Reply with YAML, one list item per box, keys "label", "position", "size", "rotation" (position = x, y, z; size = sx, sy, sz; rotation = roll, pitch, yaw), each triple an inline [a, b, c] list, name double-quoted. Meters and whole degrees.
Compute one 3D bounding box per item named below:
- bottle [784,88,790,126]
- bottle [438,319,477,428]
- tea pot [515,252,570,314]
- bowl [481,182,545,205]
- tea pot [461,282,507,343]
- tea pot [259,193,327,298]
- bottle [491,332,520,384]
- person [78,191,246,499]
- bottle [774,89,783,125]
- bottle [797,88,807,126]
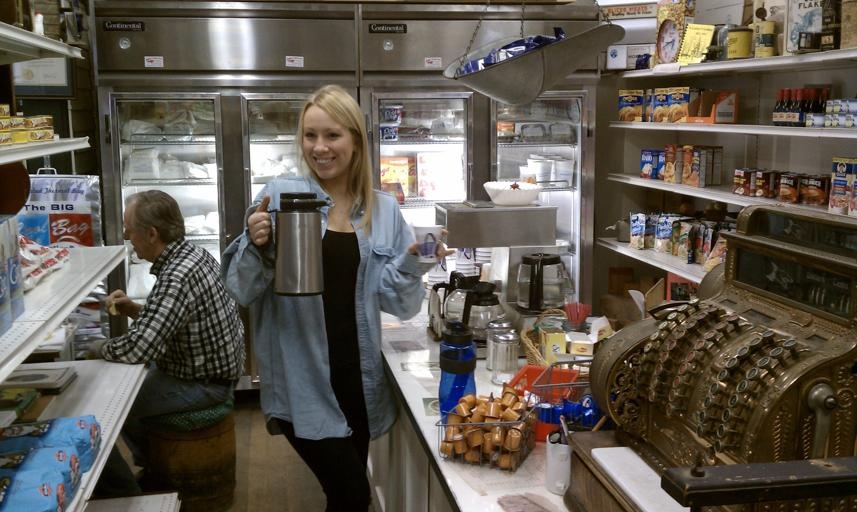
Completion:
- label: "bottle"
  position: [2.201, -0.909, 3.496]
  size: [0.037, 0.200, 0.109]
  rotation: [3, 10, 28]
- label: "bottle"
  position: [0.115, 0.467, 2.282]
  size: [0.144, 0.330, 0.142]
  rotation: [-1, 9, 0]
- label: "tea pot"
  position: [0.569, 0.136, 2.896]
  size: [0.251, 0.261, 0.324]
  rotation: [2, 11, 18]
- label: "bowl"
  position: [0.402, -0.298, 2.773]
  size: [0.242, 0.109, 0.172]
  rotation: [-1, 9, 5]
- label: "tea pot"
  position: [0.245, 0.272, 2.791]
  size: [0.255, 0.236, 0.160]
  rotation: [-4, 9, -34]
- label: "tea pot"
  position: [-0.529, -0.047, 2.332]
  size: [0.210, 0.409, 0.106]
  rotation: [-3, 9, -9]
- label: "bottle"
  position: [0.365, 0.480, 2.631]
  size: [0.148, 0.220, 0.143]
  rotation: [1, -1, 0]
- label: "person"
  position: [-1.538, 0.537, 3.395]
  size: [0.909, 1.679, 0.809]
  rotation: [2, 7, -10]
- label: "bottle"
  position: [2.189, -0.915, 3.548]
  size: [0.064, 0.214, 0.134]
  rotation: [4, 10, 31]
- label: "bottle"
  position: [2.229, -0.882, 3.406]
  size: [0.031, 0.211, 0.108]
  rotation: [4, 10, 32]
